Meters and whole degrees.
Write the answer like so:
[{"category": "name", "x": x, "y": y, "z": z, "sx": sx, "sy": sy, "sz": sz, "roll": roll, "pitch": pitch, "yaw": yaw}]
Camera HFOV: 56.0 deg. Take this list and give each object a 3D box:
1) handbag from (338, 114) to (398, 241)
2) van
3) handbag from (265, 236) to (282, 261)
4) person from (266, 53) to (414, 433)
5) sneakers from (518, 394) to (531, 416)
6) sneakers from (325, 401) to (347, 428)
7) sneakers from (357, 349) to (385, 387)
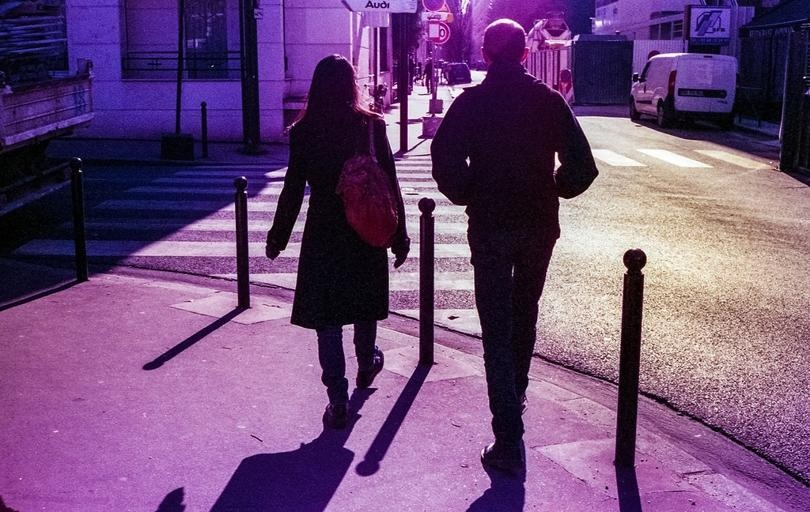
[{"category": "handbag", "x": -0.291, "y": -0.418, "z": 5.775, "sx": 0.440, "sy": 0.635, "sz": 0.256, "roll": 0, "pitch": 18, "yaw": -6}, {"category": "van", "x": 9.546, "y": -5.614, "z": 26.015, "sx": 3.273, "sy": 2.429, "sz": 2.428, "roll": 14, "pitch": 22, "yaw": 29}, {"category": "handbag", "x": -1.074, "y": -0.039, "z": 6.072, "sx": 0.182, "sy": 0.145, "sz": 0.068, "roll": -22, "pitch": -9, "yaw": 21}, {"category": "person", "x": -0.514, "y": -0.132, "z": 5.986, "sx": 0.906, "sy": 2.702, "sz": 0.796, "roll": 16, "pitch": 23, "yaw": 38}, {"category": "sneakers", "x": 0.962, "y": 1.187, "z": 6.113, "sx": 0.066, "sy": 0.201, "sz": 0.146, "roll": 3, "pitch": 3, "yaw": 17}, {"category": "sneakers", "x": -0.540, "y": 1.230, "z": 5.951, "sx": 0.110, "sy": 0.163, "sz": 0.237, "roll": 2, "pitch": 16, "yaw": -1}, {"category": "sneakers", "x": -0.267, "y": 0.928, "z": 6.555, "sx": 0.131, "sy": 0.186, "sz": 0.418, "roll": 6, "pitch": 35, "yaw": 22}]
